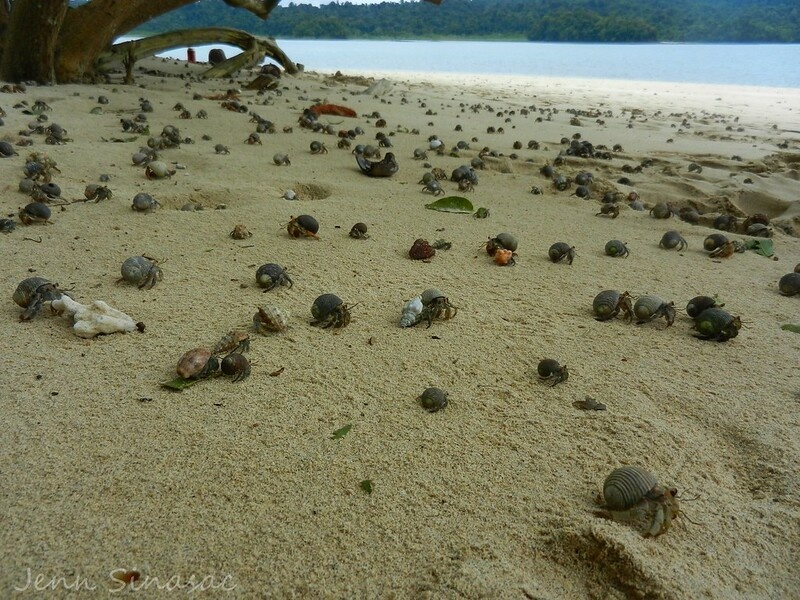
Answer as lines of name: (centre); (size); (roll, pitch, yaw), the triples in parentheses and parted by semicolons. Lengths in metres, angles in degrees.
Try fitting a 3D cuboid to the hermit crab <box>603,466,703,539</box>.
hermit crab: (1.547, 1.303, 3.995); (0.510, 0.357, 0.306); (16, 68, 10)
